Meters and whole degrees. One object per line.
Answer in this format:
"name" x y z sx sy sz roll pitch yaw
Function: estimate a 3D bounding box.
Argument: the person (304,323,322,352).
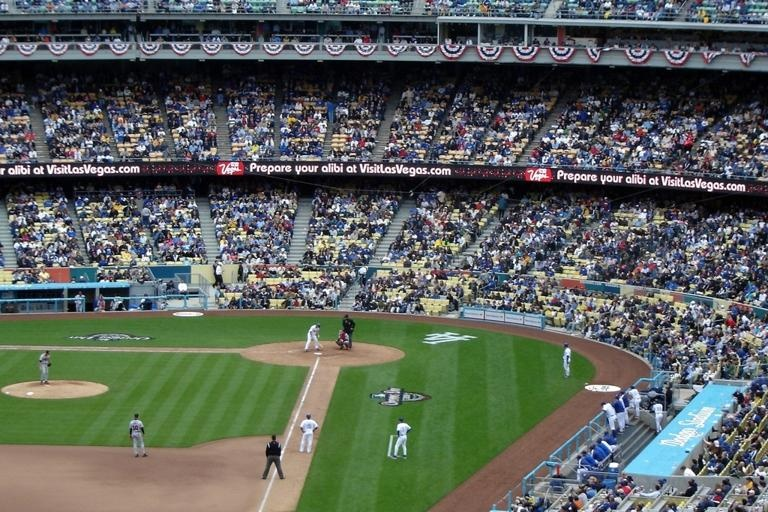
"person" -4.232 4.918 79.334 0.953 1.707 1.275 4 10 -3

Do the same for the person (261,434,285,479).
"person" -5.388 9.914 64.841 1.039 2.220 1.522 4 10 -5

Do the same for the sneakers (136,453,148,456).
"sneakers" -12.177 10.112 66.031 0.593 0.140 0.225 2 10 -14

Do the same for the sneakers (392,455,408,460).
"sneakers" 0.858 10.299 66.366 0.712 0.291 0.232 3 2 5
